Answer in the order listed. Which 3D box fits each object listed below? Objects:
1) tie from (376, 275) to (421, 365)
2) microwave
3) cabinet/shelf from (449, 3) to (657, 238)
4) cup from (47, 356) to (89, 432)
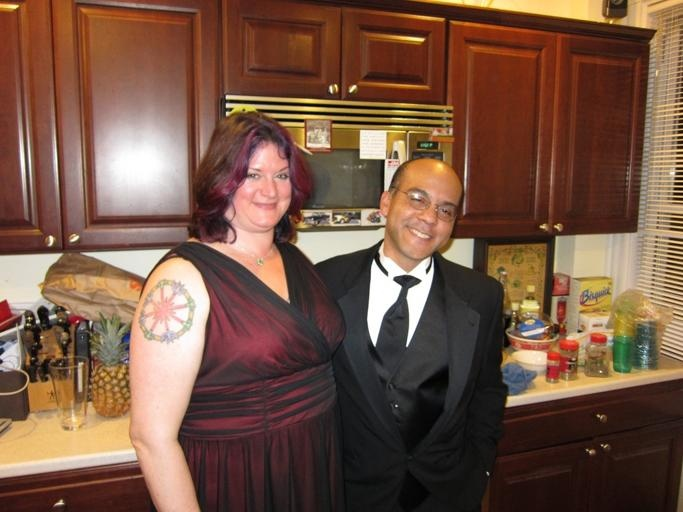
[{"bbox_3d":[0.194,0.231,2.137,0.163,0.276,0.190,3,13,9],"label":"tie"},{"bbox_3d":[-0.042,-0.484,2.843,1.139,0.518,0.505,-3,14,-29],"label":"microwave"},{"bbox_3d":[0.926,-0.614,2.962,1.015,1.053,0.441,-2,13,-20],"label":"cabinet/shelf"},{"bbox_3d":[-1.098,0.564,2.398,0.132,0.272,0.120,-6,8,-21],"label":"cup"}]
